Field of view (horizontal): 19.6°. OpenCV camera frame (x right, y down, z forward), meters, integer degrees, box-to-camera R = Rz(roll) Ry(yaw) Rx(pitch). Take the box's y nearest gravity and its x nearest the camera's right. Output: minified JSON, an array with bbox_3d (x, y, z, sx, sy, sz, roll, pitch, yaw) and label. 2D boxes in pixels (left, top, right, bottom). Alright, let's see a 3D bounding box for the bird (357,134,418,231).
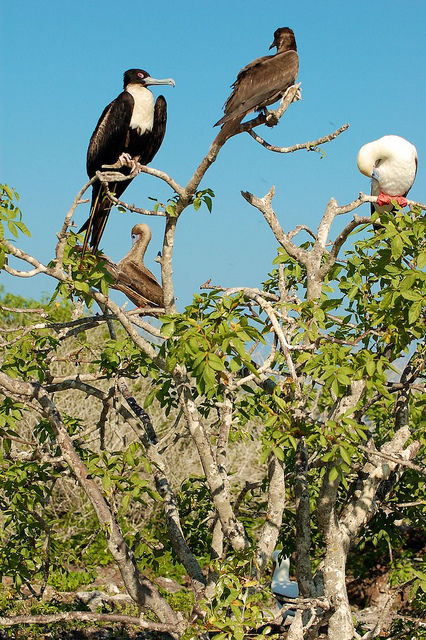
[{"bbox_3d":[1.440,-1.088,10.488,0.496,0.909,1.119,8,-10,7],"label":"bird"}]
